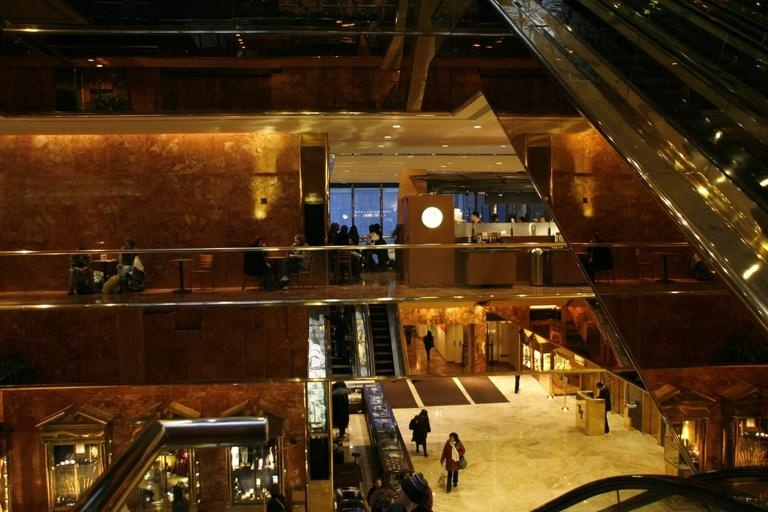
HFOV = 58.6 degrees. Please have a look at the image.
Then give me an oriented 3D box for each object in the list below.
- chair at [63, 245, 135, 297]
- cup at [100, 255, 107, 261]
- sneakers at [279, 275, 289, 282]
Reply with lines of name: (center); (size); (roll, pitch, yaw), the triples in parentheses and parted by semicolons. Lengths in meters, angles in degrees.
chair: (-6.399, 0.395, 15.393); (1.271, 0.933, 0.500); (-3, 21, -31)
cup: (-6.307, 0.045, 15.401); (0.148, 0.139, 0.124); (3, 85, -21)
sneakers: (-2.207, 0.497, 15.201); (0.180, 0.115, 0.129); (6, 73, -9)
